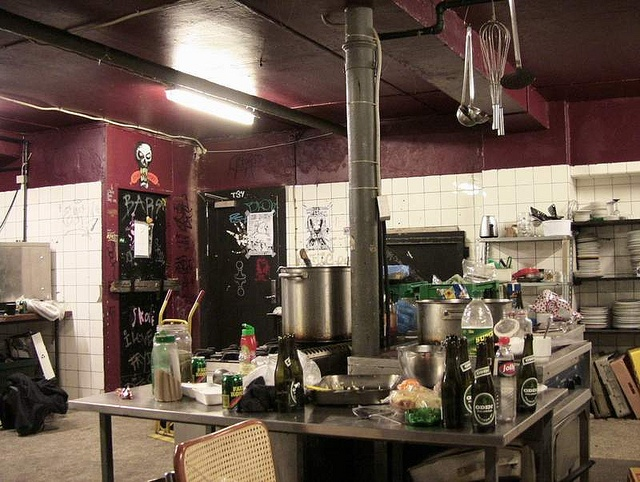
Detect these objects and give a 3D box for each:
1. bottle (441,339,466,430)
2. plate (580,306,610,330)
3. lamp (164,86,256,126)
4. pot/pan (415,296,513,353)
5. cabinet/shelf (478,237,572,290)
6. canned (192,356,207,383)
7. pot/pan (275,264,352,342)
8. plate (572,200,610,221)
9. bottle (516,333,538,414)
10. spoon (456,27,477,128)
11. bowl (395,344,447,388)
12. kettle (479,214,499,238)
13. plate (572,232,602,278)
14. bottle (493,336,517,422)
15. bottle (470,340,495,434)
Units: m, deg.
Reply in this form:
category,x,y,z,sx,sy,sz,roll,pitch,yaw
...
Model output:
category,x,y,z,sx,sy,sz,roll,pitch,yaw
bottle,0.561,0.603,2.514,0.096,0.389,0.143,-3,-6,11
plate,3.018,0.854,6.436,0.372,0.257,0.375,-1,-4,3
lamp,-1.139,-1.448,6.201,0.297,0.125,1.131,-6,-7,33
pot/pan,0.903,0.482,3.671,0.601,0.283,0.515,-2,2,20
cabinet/shelf,2.254,0.245,6.304,0.603,0.577,0.215,1,-2,13
canned,-0.659,0.699,3.179,0.067,0.133,0.134,-2,-6,-6
pot/pan,0.000,0.408,4.135,0.586,0.527,0.523,-5,5,-35
plate,3.053,-0.314,6.673,0.267,0.152,0.291,1,-5,-7
bottle,0.980,0.626,2.790,0.098,0.354,0.204,-4,-6,18
spoon,1.041,-1.149,4.155,0.149,0.647,0.170,-17,25,-42
bowl,0.542,0.653,3.037,0.294,0.219,0.295,-4,4,0
kettle,1.922,-0.159,6.689,0.192,0.273,0.186,-4,-6,16
plate,3.077,0.179,6.737,0.257,0.494,0.315,-5,-6,23
bottle,0.823,0.612,2.601,0.093,0.359,0.197,-4,-6,16
bottle,0.680,0.610,2.449,0.106,0.363,0.065,-2,-5,0
